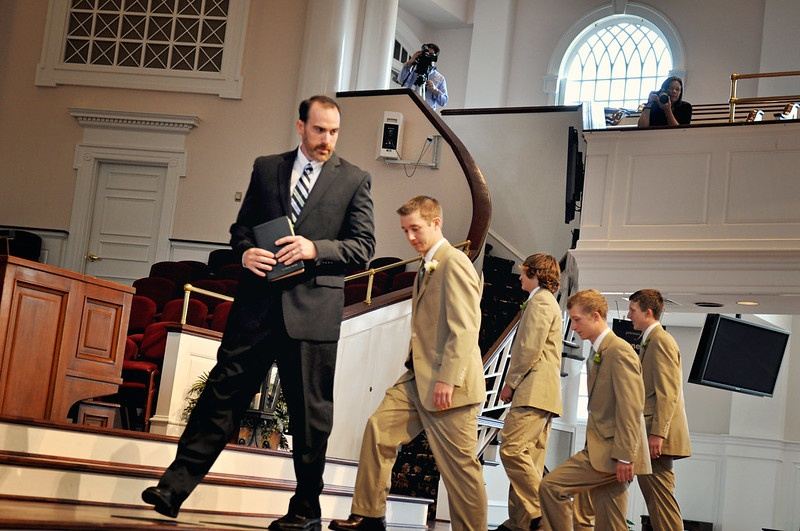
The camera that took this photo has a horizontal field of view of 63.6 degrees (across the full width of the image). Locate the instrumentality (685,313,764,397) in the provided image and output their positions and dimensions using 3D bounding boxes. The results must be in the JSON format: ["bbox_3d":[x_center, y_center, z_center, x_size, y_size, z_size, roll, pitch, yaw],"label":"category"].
[{"bbox_3d":[5.236,1.381,9.912,1.489,1.117,0.206,12,7,-18],"label":"instrumentality"}]

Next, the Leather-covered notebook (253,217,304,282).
[{"bbox_3d":[-0.676,-0.090,3.559,0.271,0.360,0.156,2,-3,-14],"label":"Leather-covered notebook"}]

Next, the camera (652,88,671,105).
[{"bbox_3d":[3.337,-2.154,8.238,0.213,0.161,0.247,-5,16,8],"label":"camera"}]

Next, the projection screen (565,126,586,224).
[{"bbox_3d":[2.734,-1.239,9.937,0.183,1.291,1.644,2,0,21],"label":"projection screen"}]

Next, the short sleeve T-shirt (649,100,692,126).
[{"bbox_3d":[3.574,-1.962,8.414,0.434,0.150,0.463,-2,43,-1],"label":"short sleeve T-shirt"}]

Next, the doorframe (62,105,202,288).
[{"bbox_3d":[-4.403,-1.094,10.556,2.482,4.142,0.548,2,-9,-1],"label":"doorframe"}]

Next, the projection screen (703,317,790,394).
[{"bbox_3d":[5.248,1.411,9.928,1.421,1.115,0.199,13,6,-16],"label":"projection screen"}]
